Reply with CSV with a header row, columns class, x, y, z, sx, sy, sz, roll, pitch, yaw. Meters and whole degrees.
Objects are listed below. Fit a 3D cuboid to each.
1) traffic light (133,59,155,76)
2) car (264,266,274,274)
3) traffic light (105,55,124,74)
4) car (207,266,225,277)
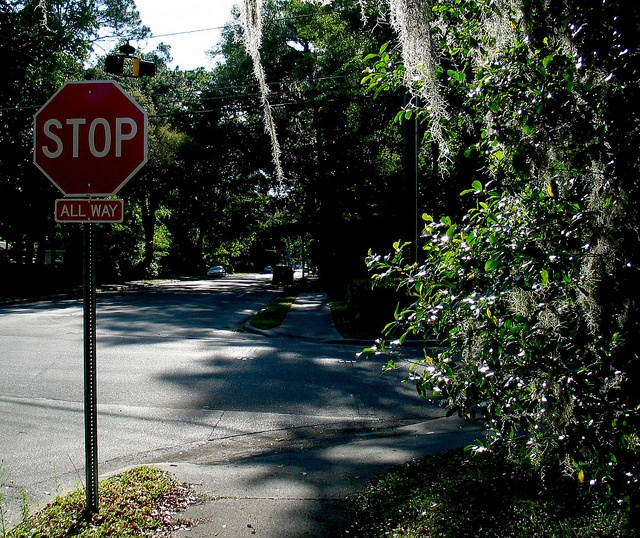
class,x,y,z,sx,sy,sz,roll,pitch,yaw
traffic light,-3.682,-4.173,14.204,0.471,0.399,0.469,2,1,-4
car,-7.740,0.052,102.625,1.349,1.128,3.169,0,-2,-1
traffic light,-3.753,-3.748,12.633,0.385,0.403,0.096,7,9,22
car,-10.747,0.193,71.044,1.004,0.807,1.759,-2,-4,3
